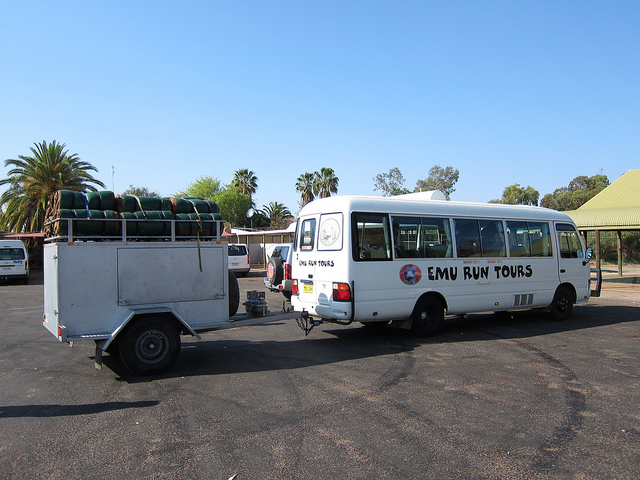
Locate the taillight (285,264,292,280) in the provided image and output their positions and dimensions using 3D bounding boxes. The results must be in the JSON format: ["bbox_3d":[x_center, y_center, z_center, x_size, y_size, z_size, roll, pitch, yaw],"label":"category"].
[{"bbox_3d":[-1.075,1.073,14.058,0.186,0.495,0.213,-2,-1,5],"label":"taillight"}]

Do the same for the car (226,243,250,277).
[{"bbox_3d":[-4.872,1.230,25.252,1.735,1.794,3.273,-1,6,-5],"label":"car"}]

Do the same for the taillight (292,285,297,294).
[{"bbox_3d":[-0.622,1.231,10.399,0.041,0.157,0.149,-16,13,-42],"label":"taillight"}]

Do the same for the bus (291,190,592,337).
[{"bbox_3d":[3.814,0.596,11.968,8.464,3.845,3.399,-2,-1,-24],"label":"bus"}]

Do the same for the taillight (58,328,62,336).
[{"bbox_3d":[-4.114,1.464,6.673,0.184,0.108,0.007,-4,-2,42],"label":"taillight"}]

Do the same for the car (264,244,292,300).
[{"bbox_3d":[-1.494,1.150,14.590,1.209,1.259,2.189,0,1,0],"label":"car"}]
